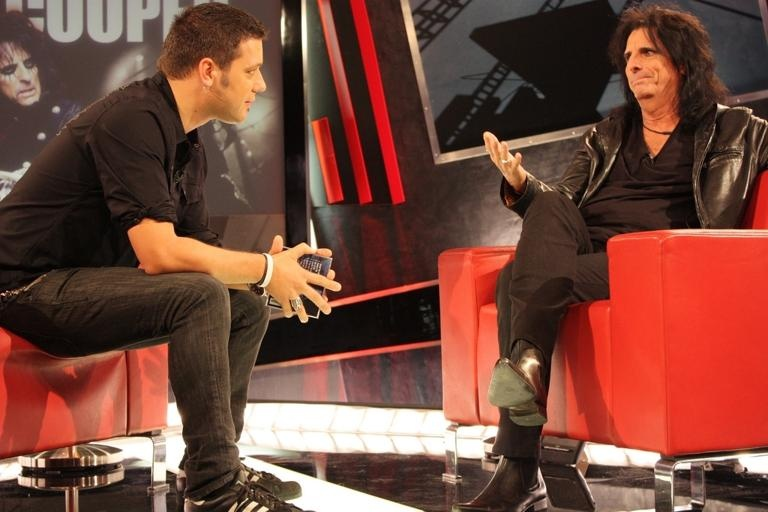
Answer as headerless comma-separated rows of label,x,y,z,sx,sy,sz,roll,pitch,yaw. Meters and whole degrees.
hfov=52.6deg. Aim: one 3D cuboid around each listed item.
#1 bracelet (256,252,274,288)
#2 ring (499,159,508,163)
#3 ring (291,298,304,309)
bracelet,-0.374,0.047,2.486,0.037,0.090,0.087,3,-8,-24
ring,0.453,-0.348,2.871,0.026,0.013,0.042,-2,-1,43
ring,-0.287,0.157,2.542,0.037,0.033,0.038,1,2,0
